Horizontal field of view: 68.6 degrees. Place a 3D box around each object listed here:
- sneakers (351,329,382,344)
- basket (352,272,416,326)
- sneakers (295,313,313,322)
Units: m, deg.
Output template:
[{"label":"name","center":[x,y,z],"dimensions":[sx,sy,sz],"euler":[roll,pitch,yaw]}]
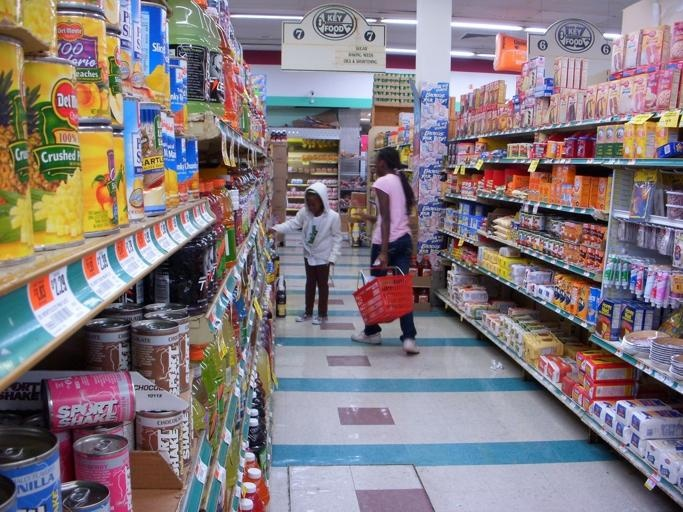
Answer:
[{"label":"sneakers","center":[0.272,0.872,5.379],"dimensions":[0.331,0.144,0.121],"euler":[5,2,4]},{"label":"basket","center":[0.440,0.422,4.876],"dimensions":[0.391,0.596,0.577],"euler":[-5,-15,-28]},{"label":"sneakers","center":[-0.454,0.739,5.955],"dimensions":[0.206,0.082,0.076],"euler":[1,1,-18]}]
